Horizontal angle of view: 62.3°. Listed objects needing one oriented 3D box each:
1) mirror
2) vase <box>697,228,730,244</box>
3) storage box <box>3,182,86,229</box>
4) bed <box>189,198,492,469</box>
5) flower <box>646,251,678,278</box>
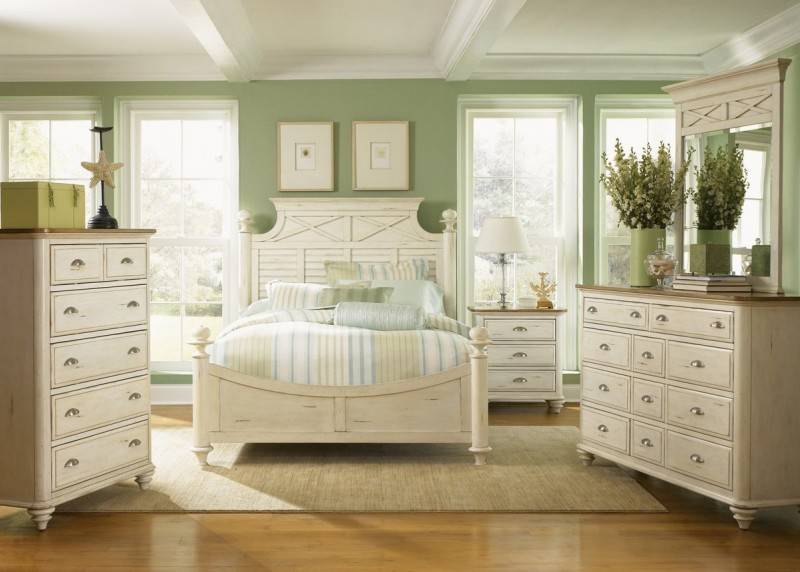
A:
[{"bbox_3d":[1.914,-0.629,3.837,0.187,1.251,0.852,-7,13,-29],"label":"mirror"},{"bbox_3d":[1.831,-0.288,3.865,0.120,0.060,0.106,0,-2,21],"label":"vase"},{"bbox_3d":[-1.945,-0.445,3.754,0.394,0.252,0.476,0,1,20],"label":"storage box"},{"bbox_3d":[-0.428,0.329,5.235,2.056,1.282,2.276,0,7,2],"label":"bed"},{"bbox_3d":[1.571,-0.125,4.053,0.185,0.145,0.170,0,-3,0],"label":"flower"}]
